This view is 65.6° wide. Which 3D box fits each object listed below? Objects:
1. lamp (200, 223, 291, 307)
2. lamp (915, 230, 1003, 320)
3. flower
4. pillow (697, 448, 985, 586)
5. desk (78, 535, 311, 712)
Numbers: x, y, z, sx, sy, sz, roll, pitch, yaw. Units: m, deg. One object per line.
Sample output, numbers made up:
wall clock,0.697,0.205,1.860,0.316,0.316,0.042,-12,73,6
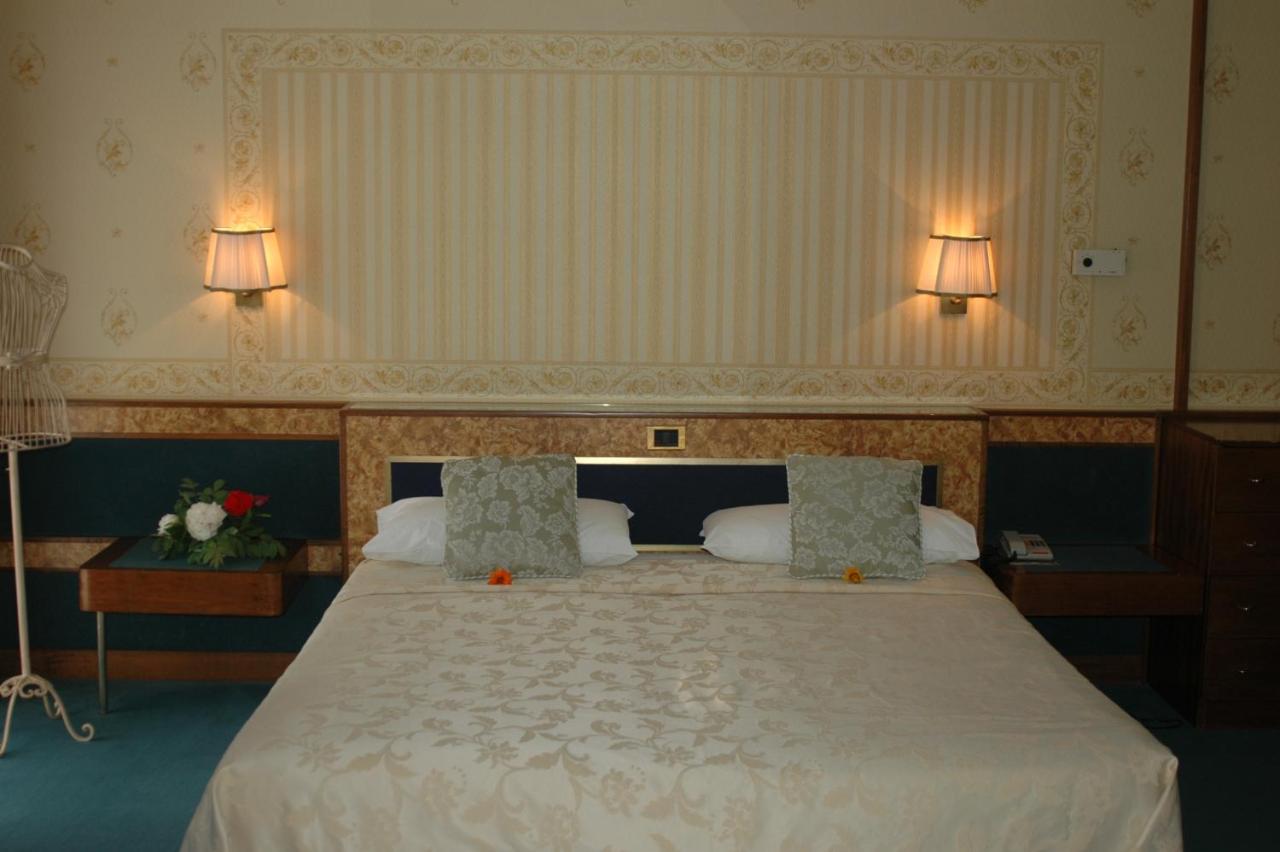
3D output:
lamp,-2.374,-0.902,5.859,0.408,0.457,0.445,11,14,7
lamp,1.860,-0.913,5.920,0.439,0.460,0.431,-18,28,-33
flower,-2.459,0.561,5.681,0.516,0.321,0.652,-16,4,9
pillow,1.096,0.504,5.337,1.239,0.597,0.675,0,-15,4
desk,-2.600,1.127,5.870,1.090,0.806,0.925,3,7,-6
